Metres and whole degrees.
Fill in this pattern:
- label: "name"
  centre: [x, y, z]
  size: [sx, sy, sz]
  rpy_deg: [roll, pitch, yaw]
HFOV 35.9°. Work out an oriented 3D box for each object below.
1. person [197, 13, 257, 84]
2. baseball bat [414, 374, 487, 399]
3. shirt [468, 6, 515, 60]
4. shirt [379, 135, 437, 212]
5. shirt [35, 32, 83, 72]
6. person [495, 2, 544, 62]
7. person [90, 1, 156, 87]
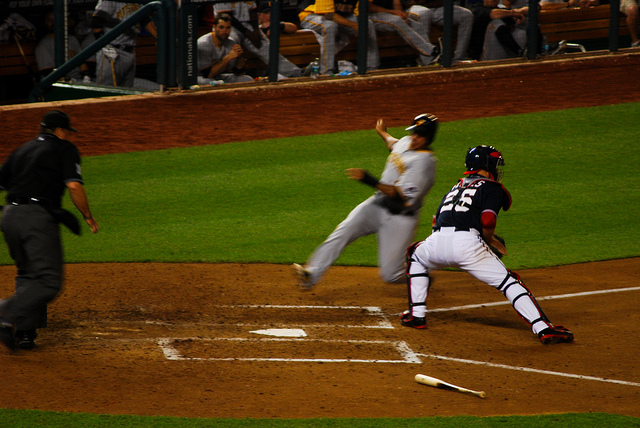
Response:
- label: "person"
  centre: [-1.745, -2.920, 17.641]
  size: [0.729, 1.206, 0.780]
  rpy_deg: [4, 14, 12]
- label: "baseball bat"
  centre: [1.236, 1.629, 9.352]
  size: [0.914, 0.069, 0.104]
  rpy_deg: [8, 14, 12]
- label: "shirt"
  centre: [3.356, -3.546, 19.181]
  size: [1.132, 1.246, 0.560]
  rpy_deg: [2, 55, -1]
- label: "shirt"
  centre: [0.866, -0.440, 10.560]
  size: [0.531, 0.815, 0.456]
  rpy_deg: [-11, 18, -39]
- label: "shirt"
  centre: [-4.688, -2.926, 17.941]
  size: [1.001, 0.704, 0.508]
  rpy_deg: [7, 15, 33]
- label: "person"
  centre: [3.901, -3.531, 19.188]
  size: [0.945, 1.119, 0.852]
  rpy_deg: [2, 13, 8]
- label: "person"
  centre: [-3.438, -2.973, 17.365]
  size: [0.999, 1.492, 0.701]
  rpy_deg: [-2, 14, -10]
